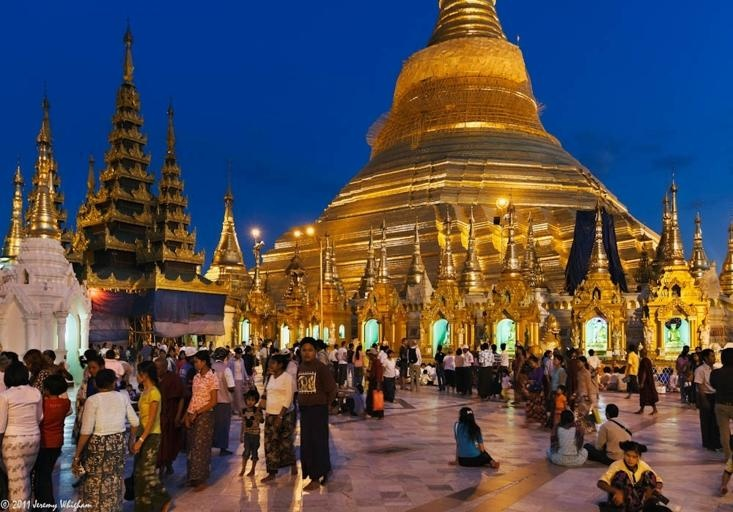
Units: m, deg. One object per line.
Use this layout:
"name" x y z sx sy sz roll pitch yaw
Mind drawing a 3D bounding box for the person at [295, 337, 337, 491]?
"person" -0.976 2.886 14.751 0.958 2.571 0.752 -9 -13 31

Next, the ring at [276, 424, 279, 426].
"ring" -1.609 3.062 14.623 0.044 0.039 0.013 -6 12 -27

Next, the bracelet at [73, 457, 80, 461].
"bracelet" -4.495 3.137 12.485 0.091 0.075 0.086 2 5 3

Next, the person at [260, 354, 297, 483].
"person" -1.602 2.970 14.815 0.585 2.271 0.614 0 -10 -8

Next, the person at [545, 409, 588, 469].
"person" 3.865 3.515 15.516 0.751 1.059 0.517 -3 -10 12

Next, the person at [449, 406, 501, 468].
"person" 2.076 3.466 15.393 0.696 1.135 0.382 -3 -10 7

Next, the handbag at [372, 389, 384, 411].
"handbag" 0.293 3.580 19.887 0.203 0.530 0.158 0 -10 -5

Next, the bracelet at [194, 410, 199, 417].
"bracelet" -3.048 2.826 14.474 0.070 0.069 0.019 6 1 -1
